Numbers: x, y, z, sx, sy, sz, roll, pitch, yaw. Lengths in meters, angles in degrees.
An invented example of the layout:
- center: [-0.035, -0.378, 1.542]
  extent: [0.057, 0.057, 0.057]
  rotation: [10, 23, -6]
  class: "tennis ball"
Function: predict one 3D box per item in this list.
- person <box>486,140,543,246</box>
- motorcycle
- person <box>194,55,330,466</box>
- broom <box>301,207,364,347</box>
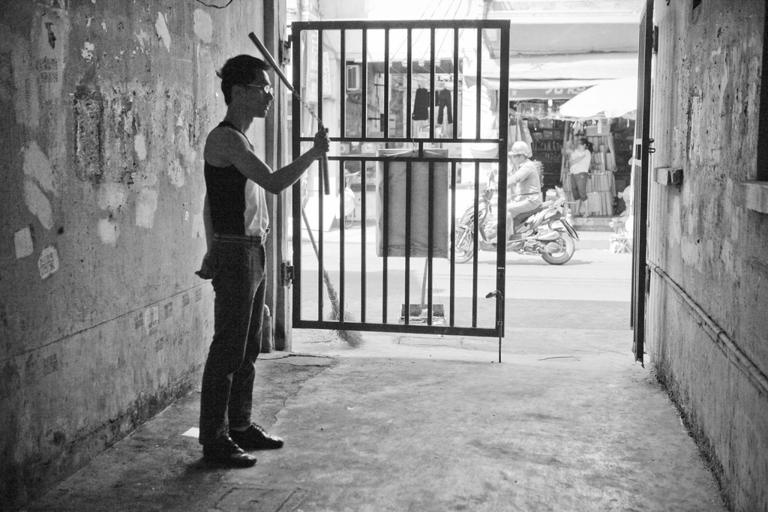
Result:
- center: [2.229, -0.980, 11.116]
  extent: [2.179, 1.544, 0.761]
  rotation: [1, 0, 11]
  class: "person"
- center: [2.194, -0.606, 10.900]
  extent: [2.294, 1.680, 1.288]
  rotation: [1, 4, 5]
  class: "motorcycle"
- center: [-0.809, 0.035, 4.085]
  extent: [0.655, 2.388, 0.922]
  rotation: [2, 0, -30]
  class: "person"
- center: [-0.536, 0.369, 6.502]
  extent: [0.542, 1.644, 0.571]
  rotation: [-1, 26, 3]
  class: "broom"
